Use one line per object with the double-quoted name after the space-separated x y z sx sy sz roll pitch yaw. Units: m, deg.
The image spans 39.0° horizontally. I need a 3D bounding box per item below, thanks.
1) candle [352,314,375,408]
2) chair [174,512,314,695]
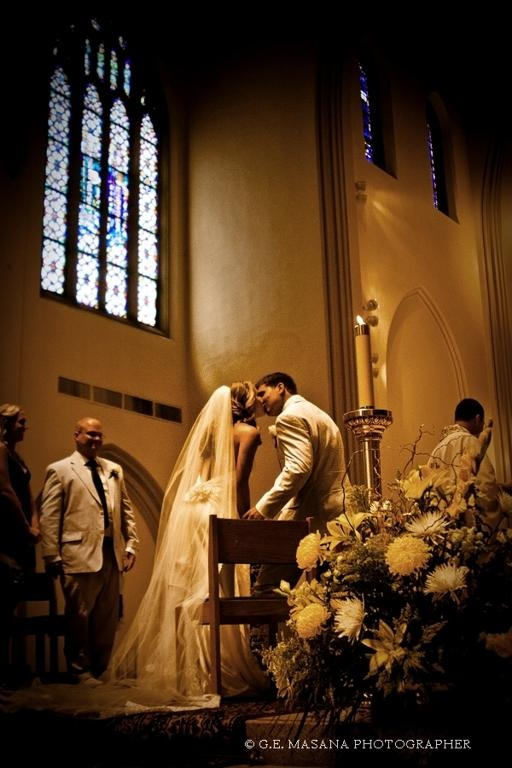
0.510 -0.100 3.383 0.075 0.466 0.078 -6 -7 26 "candle"
-0.012 0.857 2.792 0.413 0.644 0.466 0 -17 -4 "chair"
